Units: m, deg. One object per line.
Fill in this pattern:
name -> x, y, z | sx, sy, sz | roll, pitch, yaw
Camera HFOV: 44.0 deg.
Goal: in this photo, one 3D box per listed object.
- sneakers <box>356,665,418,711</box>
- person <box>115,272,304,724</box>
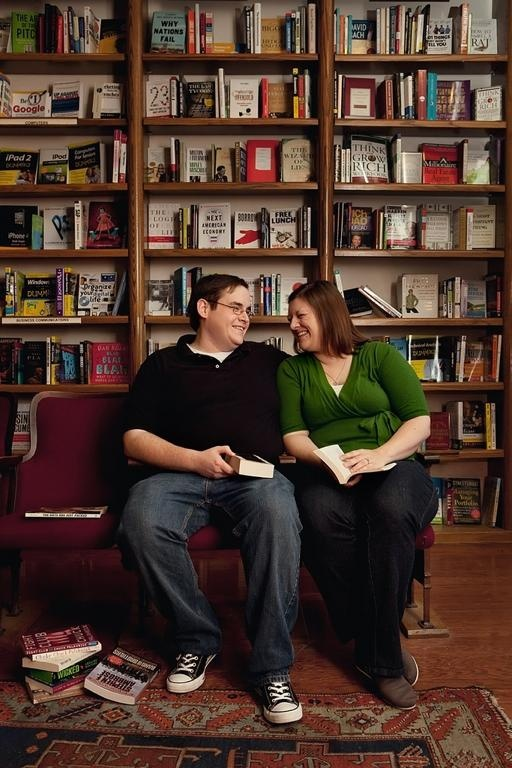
sneakers -> 0.326, 0.745, 1.593 | 0.058, 0.066, 0.157 | -5, 6, -34
person -> -0.136, 0.211, 1.795 | 0.505, 1.128, 0.785 | 0, 1, -4
